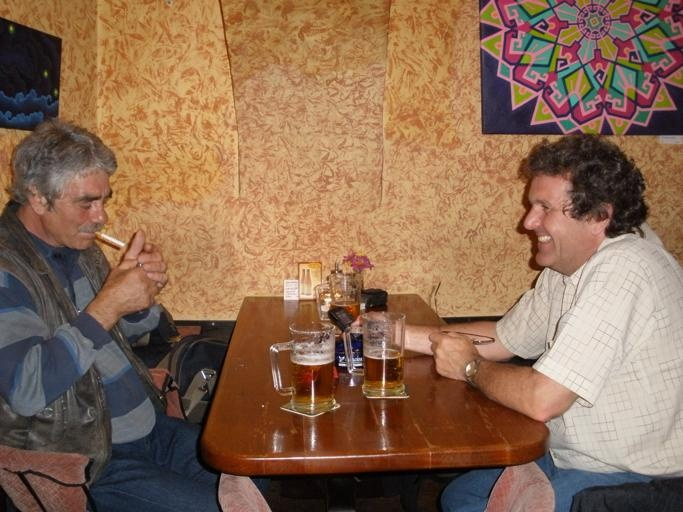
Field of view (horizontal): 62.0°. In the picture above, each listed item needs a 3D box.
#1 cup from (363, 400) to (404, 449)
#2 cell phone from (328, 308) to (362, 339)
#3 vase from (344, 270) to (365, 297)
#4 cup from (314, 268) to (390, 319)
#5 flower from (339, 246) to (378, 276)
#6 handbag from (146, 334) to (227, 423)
[{"bbox_3d":[0.115,0.445,1.522,0.077,0.116,0.073,0,-23,0],"label":"cup"},{"bbox_3d":[0.015,0.233,1.979,0.069,0.028,0.111,10,11,-40],"label":"cell phone"},{"bbox_3d":[0.064,0.114,2.280,0.097,0.102,0.095,-1,0,8],"label":"vase"},{"bbox_3d":[0.045,0.153,2.345,0.308,0.208,0.166,-2,8,1],"label":"cup"},{"bbox_3d":[0.084,0.036,2.687,0.135,0.091,0.130,11,10,-13],"label":"flower"},{"bbox_3d":[-0.603,0.481,2.264,0.251,0.336,0.132,9,-28,6],"label":"handbag"}]
